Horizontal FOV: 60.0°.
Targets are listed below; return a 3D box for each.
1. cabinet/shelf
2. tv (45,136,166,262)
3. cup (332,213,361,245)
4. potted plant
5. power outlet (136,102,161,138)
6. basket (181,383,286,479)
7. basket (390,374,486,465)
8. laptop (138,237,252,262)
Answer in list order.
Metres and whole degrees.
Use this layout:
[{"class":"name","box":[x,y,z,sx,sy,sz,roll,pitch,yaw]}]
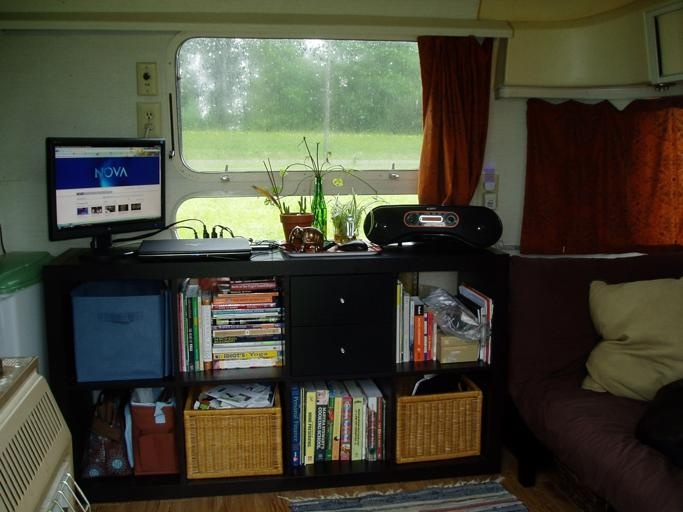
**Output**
[{"class":"cabinet/shelf","box":[-0.247,0.462,2.865,1.918,1.129,0.552,0,16,-3]},{"class":"tv","box":[-1.020,-0.257,2.556,0.496,0.488,0.176,-8,13,-43]},{"class":"cup","box":[0.029,-0.120,2.848,0.109,0.112,0.139,0,9,-6]},{"class":"potted plant","box":[-0.127,-0.361,2.931,0.499,0.530,0.510,-3,15,-13]},{"class":"power outlet","box":[-0.918,-0.645,2.803,0.120,0.162,0.026,-3,11,7]},{"class":"basket","box":[-0.473,0.773,2.629,0.357,0.280,0.366,0,6,-2]},{"class":"basket","box":[0.452,0.784,2.729,0.366,0.301,0.379,-2,1,-5]},{"class":"laptop","box":[-0.639,-0.030,2.598,0.474,0.093,0.241,-6,11,-6]}]
